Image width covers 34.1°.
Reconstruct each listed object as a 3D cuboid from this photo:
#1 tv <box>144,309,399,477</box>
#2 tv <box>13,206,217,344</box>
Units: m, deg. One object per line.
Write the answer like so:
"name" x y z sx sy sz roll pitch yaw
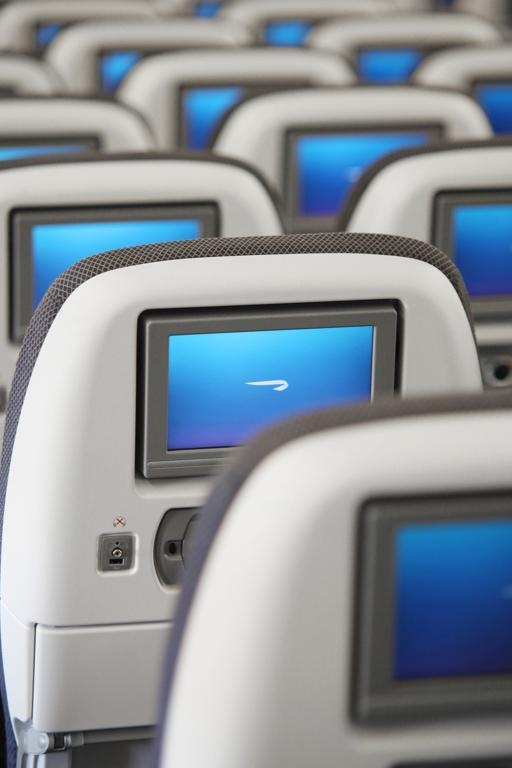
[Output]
"tv" 0.015 0.016 1.215 0.394 0.237 0.046 -2 -6 29
"tv" -0.237 -0.203 1.434 0.427 0.256 0.043 -2 6 -15
